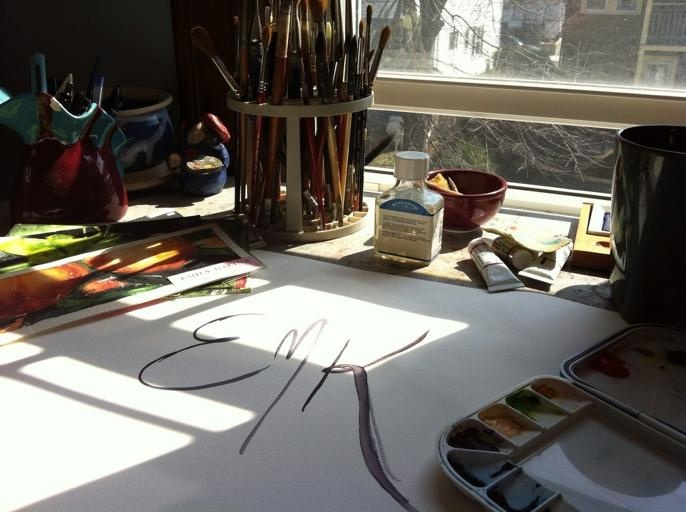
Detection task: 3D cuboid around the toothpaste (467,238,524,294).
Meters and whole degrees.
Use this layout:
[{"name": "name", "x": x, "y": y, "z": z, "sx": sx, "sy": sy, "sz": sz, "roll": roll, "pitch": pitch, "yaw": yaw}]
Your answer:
[{"name": "toothpaste", "x": 0.231, "y": 0.015, "z": 0.737, "sx": 0.055, "sy": 0.031, "sz": 0.106, "roll": -2, "pitch": 27, "yaw": -4}]

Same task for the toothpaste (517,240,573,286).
[{"name": "toothpaste", "x": 0.318, "y": 0.007, "z": 0.750, "sx": 0.049, "sy": 0.036, "sz": 0.117, "roll": 23, "pitch": 34, "yaw": 38}]
